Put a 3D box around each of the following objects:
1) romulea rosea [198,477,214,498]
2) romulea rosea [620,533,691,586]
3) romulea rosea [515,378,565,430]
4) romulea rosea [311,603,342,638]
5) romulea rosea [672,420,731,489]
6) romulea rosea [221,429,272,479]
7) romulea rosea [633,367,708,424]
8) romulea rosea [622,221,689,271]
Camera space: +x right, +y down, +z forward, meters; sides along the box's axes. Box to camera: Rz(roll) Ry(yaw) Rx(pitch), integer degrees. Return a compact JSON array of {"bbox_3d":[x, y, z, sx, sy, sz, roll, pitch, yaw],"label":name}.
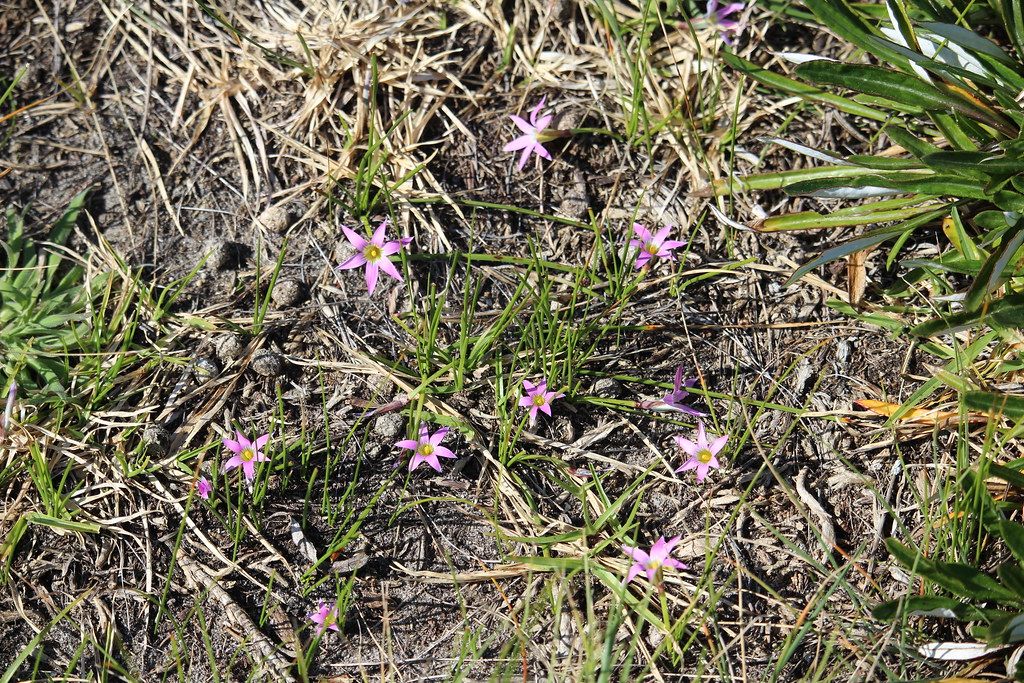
[{"bbox_3d":[-1.190,0.576,3.446,0.071,0.038,0.081,2,100,21],"label":"romulea rosea"},{"bbox_3d":[0.568,0.822,3.372,0.244,0.227,0.098,15,88,11],"label":"romulea rosea"},{"bbox_3d":[0.102,0.226,3.530,0.148,0.112,0.172,-28,83,-2],"label":"romulea rosea"},{"bbox_3d":[-0.734,1.074,3.402,0.130,0.165,0.123,-3,83,1],"label":"romulea rosea"},{"bbox_3d":[0.758,0.453,3.465,0.201,0.092,0.247,-21,43,35],"label":"romulea rosea"},{"bbox_3d":[-1.027,0.435,3.443,0.170,0.061,0.177,43,93,6],"label":"romulea rosea"},{"bbox_3d":[0.637,0.252,3.548,0.265,0.184,0.074,-12,24,9],"label":"romulea rosea"},{"bbox_3d":[0.584,-0.409,3.652,0.228,0.240,0.093,7,44,-36],"label":"romulea rosea"}]
